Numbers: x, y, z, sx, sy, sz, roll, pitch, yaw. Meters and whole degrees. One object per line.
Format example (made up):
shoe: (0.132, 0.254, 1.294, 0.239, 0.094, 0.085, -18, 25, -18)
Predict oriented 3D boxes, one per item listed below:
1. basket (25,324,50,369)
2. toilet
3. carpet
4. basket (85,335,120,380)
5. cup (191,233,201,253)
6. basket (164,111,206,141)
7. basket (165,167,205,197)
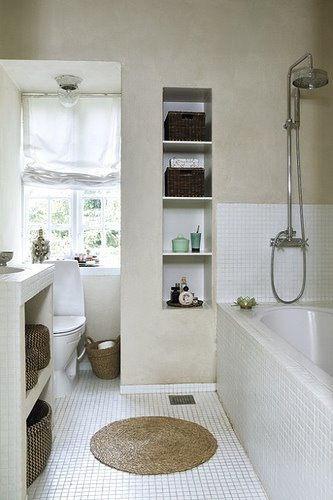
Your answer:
basket: (-0.559, 0.428, 1.800, 0.110, 0.169, 0.163, -1, 0, -6)
toilet: (-0.694, 0.507, 2.847, 0.241, 0.851, 0.698, 0, 1, -13)
carpet: (-0.065, 0.949, 2.023, 0.620, 0.017, 0.565, -1, 2, -12)
basket: (-0.440, 0.780, 2.887, 0.256, 0.326, 0.266, -6, -9, 13)
cup: (0.198, -0.049, 2.815, 0.061, 0.128, 0.140, 0, 1, 2)
basket: (0.127, -0.800, 2.591, 0.185, 0.143, 0.209, 0, 5, -2)
basket: (0.129, -0.444, 2.710, 0.257, 0.193, 0.107, 0, 1, -6)
